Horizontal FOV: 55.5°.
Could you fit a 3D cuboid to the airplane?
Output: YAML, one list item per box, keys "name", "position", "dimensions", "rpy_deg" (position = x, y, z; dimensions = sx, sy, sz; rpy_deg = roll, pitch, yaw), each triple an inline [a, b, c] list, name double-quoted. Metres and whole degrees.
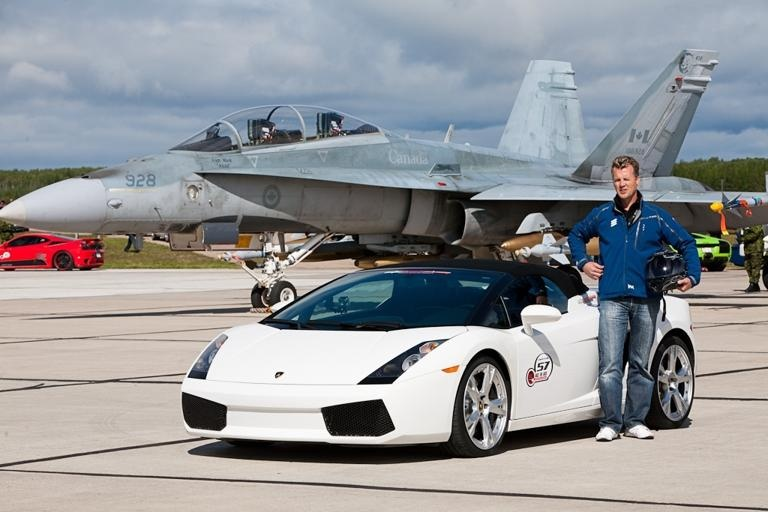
- name: "airplane"
  position: [0.053, -1.906, 19.466]
  dimensions: [15.986, 3.160, 11.088]
  rpy_deg: [-1, 3, -25]

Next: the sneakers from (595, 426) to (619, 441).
- name: "sneakers"
  position: [1.984, 1.583, 6.481]
  dimensions: [0.123, 0.071, 0.259]
  rpy_deg: [-6, -10, 28]

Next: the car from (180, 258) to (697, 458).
- name: "car"
  position: [0.731, 0.785, 6.679]
  dimensions: [3.796, 0.747, 2.384]
  rpy_deg: [4, -8, -41]

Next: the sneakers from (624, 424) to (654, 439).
- name: "sneakers"
  position: [2.299, 1.588, 6.585]
  dimensions: [0.258, 0.066, 0.132]
  rpy_deg: [-5, -2, 43]
